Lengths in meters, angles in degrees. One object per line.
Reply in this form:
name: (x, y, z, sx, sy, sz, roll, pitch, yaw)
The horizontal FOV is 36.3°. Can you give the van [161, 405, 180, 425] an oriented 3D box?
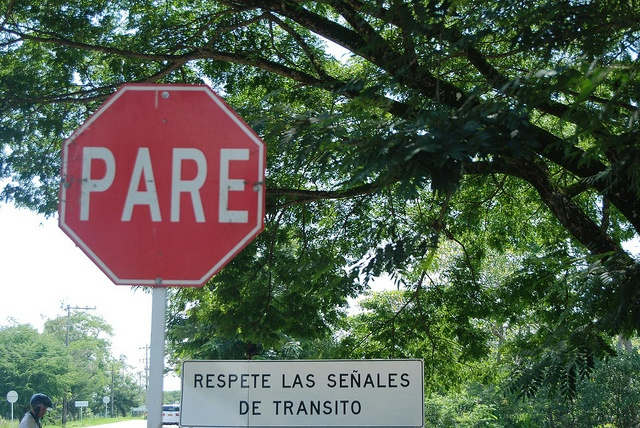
van: (-7.605, 10.092, 49.407, 0.745, 1.084, 2.170, 2, -18, -12)
